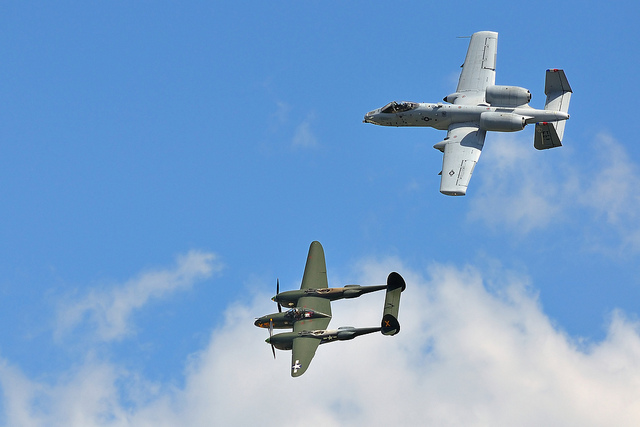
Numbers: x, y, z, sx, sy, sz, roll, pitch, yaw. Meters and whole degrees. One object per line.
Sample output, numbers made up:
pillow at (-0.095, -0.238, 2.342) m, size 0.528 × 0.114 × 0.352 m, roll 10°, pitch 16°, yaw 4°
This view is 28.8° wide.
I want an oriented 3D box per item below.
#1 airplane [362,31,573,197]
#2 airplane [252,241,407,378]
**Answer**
airplane at (11.129, -8.199, 94.878) m, size 14.646 × 16.079 × 4.232 m, roll 3°, pitch -40°, yaw 16°
airplane at (0.223, 6.938, 81.768) m, size 8.874 × 11.957 × 2.473 m, roll -4°, pitch -54°, yaw 13°
